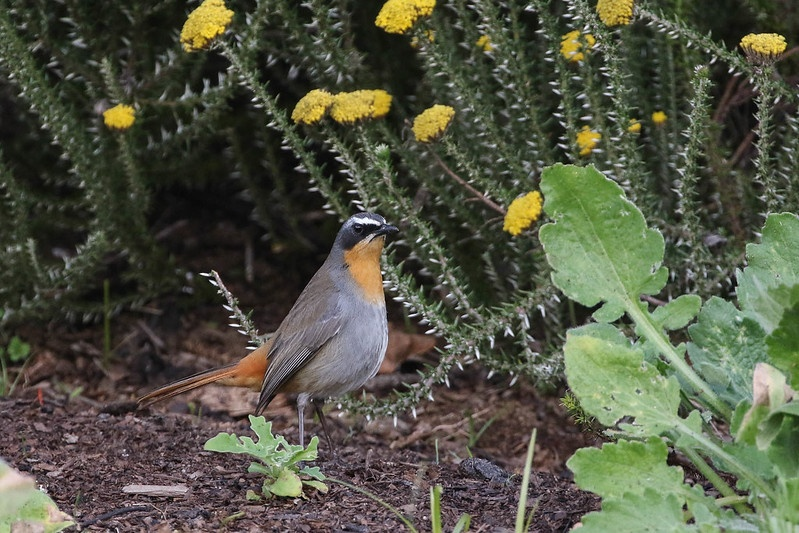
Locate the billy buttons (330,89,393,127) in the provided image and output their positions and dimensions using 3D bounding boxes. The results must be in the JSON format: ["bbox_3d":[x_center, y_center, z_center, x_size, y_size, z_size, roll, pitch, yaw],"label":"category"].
[{"bbox_3d":[-0.207,-0.992,5.201,0.258,0.210,0.476,19,21,26],"label":"billy buttons"}]

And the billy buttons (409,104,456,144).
[{"bbox_3d":[0.197,-0.856,5.033,0.110,0.208,0.225,48,25,-16],"label":"billy buttons"}]

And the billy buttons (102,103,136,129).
[{"bbox_3d":[-1.753,-0.931,5.332,0.155,0.177,0.076,-10,-5,-12],"label":"billy buttons"}]

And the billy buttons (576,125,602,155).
[{"bbox_3d":[1.187,-0.823,5.339,0.150,0.181,0.047,-2,-11,2],"label":"billy buttons"}]

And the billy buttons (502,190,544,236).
[{"bbox_3d":[0.732,-0.295,4.910,0.180,0.262,0.086,37,1,38],"label":"billy buttons"}]

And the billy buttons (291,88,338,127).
[{"bbox_3d":[-0.518,-0.950,5.088,0.240,0.226,0.138,20,21,28],"label":"billy buttons"}]

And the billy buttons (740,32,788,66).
[{"bbox_3d":[2.017,-1.212,4.683,0.188,0.124,0.200,1,-11,0],"label":"billy buttons"}]

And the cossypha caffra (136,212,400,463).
[{"bbox_3d":[-0.573,0.311,5.152,1.016,1.292,0.660,-4,22,-35],"label":"cossypha caffra"}]
